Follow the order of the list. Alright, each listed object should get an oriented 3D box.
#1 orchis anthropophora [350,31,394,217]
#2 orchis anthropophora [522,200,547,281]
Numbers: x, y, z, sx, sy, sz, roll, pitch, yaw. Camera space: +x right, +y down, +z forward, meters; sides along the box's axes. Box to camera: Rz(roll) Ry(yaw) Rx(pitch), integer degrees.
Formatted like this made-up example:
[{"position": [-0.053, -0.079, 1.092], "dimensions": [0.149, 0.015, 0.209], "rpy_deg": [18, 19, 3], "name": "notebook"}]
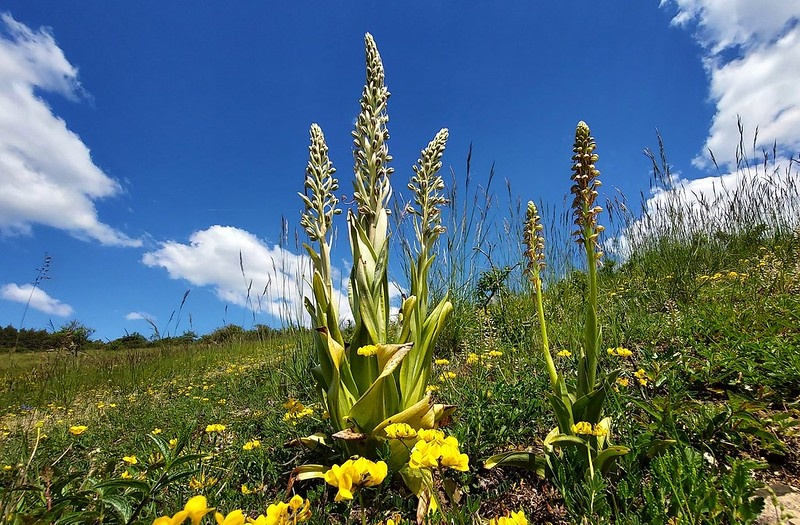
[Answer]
[{"position": [-0.267, -1.305, 3.625], "dimensions": [0.366, 1.728, 0.440], "rpy_deg": [-3, -11, -8], "name": "orchis anthropophora"}, {"position": [1.037, -0.193, 3.123], "dimensions": [0.156, 0.611, 0.619], "rpy_deg": [-8, -13, 17], "name": "orchis anthropophora"}]
